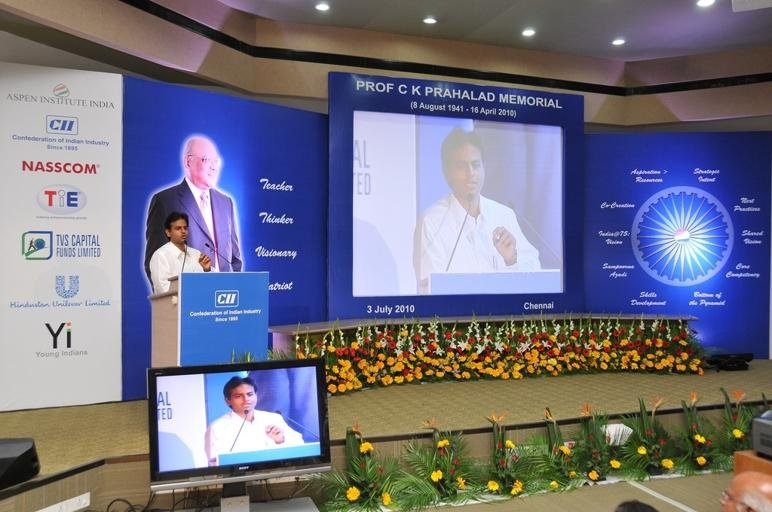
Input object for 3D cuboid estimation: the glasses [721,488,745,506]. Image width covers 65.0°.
[{"bbox_3d":[2.609,1.810,4.551,0.137,0.065,0.138,-4,-8,37],"label":"glasses"}]
